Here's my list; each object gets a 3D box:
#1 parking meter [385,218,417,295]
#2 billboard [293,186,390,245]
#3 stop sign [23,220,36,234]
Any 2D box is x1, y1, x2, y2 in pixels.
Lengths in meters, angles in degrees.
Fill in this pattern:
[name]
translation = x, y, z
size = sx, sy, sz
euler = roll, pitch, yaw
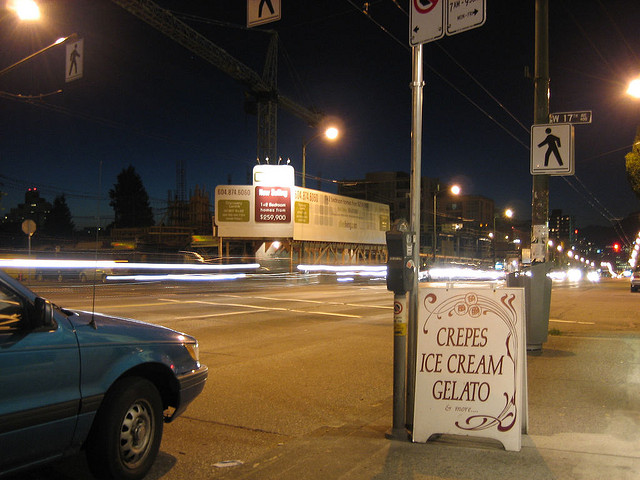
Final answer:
[parking meter]
translation = 0.982, 0.232, 6.981
size = 0.223, 1.058, 0.294
euler = 1, 1, 20
[billboard]
translation = 1.928, -2.098, 59.776
size = 0.681, 4.280, 19.319
euler = 0, -1, 27
[stop sign]
translation = -15.429, -0.656, 30.588
size = 0.490, 0.800, 1.302
euler = 0, -1, -32
